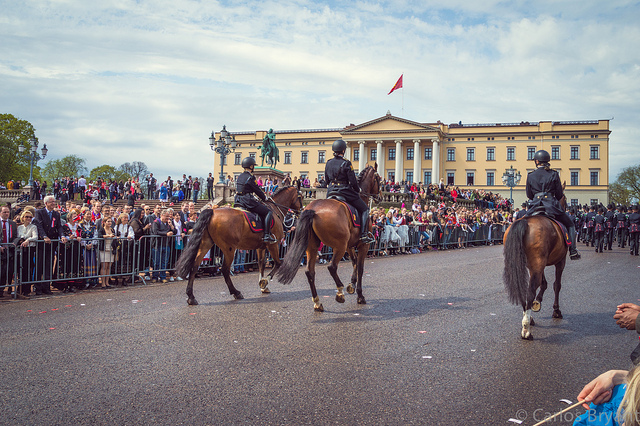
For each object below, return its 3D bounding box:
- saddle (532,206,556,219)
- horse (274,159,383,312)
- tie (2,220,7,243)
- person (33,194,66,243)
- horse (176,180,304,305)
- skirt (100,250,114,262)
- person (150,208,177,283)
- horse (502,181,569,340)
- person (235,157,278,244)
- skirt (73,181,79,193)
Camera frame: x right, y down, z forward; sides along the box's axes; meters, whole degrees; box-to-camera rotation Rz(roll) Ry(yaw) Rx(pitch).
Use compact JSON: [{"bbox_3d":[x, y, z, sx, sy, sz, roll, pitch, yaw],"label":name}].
[{"bbox_3d":[4.492,-0.037,11.433,0.257,0.338,0.176,-13,8,26],"label":"saddle"},{"bbox_3d":[0.279,0.532,12.675,1.656,3.157,2.949,2,8,12],"label":"horse"},{"bbox_3d":[-7.417,0.427,13.234,0.105,0.493,0.230,-4,9,-29],"label":"tie"},{"bbox_3d":[-6.723,0.169,13.950,0.680,1.124,1.141,-3,8,-26],"label":"person"},{"bbox_3d":[-1.763,0.640,13.643,0.979,2.767,4.324,1,2,39],"label":"horse"},{"bbox_3d":[-5.547,1.151,14.689,0.445,0.321,0.241,4,-13,-42],"label":"skirt"},{"bbox_3d":[-4.456,0.912,15.940,0.630,1.927,1.163,0,8,-5],"label":"person"},{"bbox_3d":[4.007,1.161,10.676,0.990,2.104,1.939,4,9,29],"label":"horse"},{"bbox_3d":[-1.380,-0.342,13.662,1.054,2.024,0.772,-4,-7,14],"label":"person"},{"bbox_3d":[-18.245,-1.921,42.194,0.305,0.736,1.281,-3,8,-22],"label":"skirt"}]
